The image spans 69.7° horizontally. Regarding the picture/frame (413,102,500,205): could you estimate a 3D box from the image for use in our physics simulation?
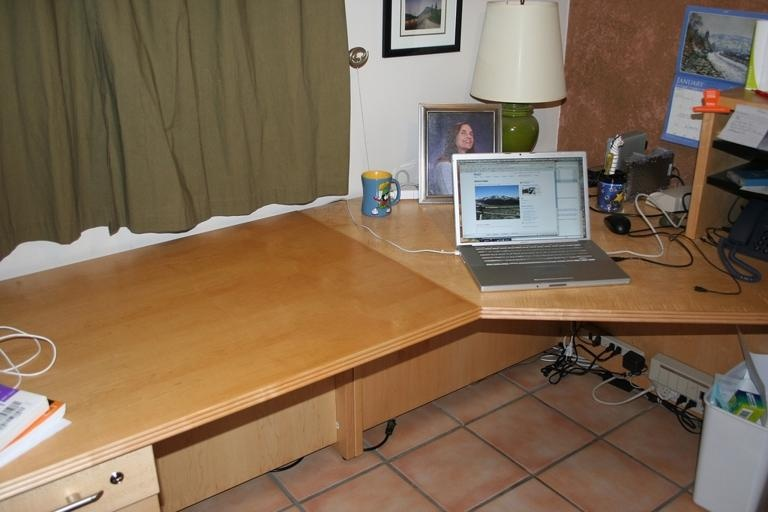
[{"bbox_3d":[0.303,-0.418,2.227,0.461,0.491,0.053,-2,6,-5],"label":"picture/frame"}]

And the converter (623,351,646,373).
[{"bbox_3d":[1.165,0.487,2.556,0.050,0.070,0.066,-30,55,-6],"label":"converter"}]

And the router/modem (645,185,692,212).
[{"bbox_3d":[1.193,-0.239,2.299,0.105,0.054,0.140,-15,33,-23],"label":"router/modem"}]
